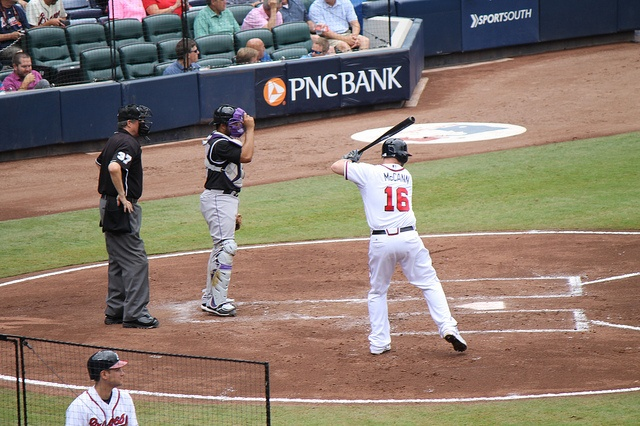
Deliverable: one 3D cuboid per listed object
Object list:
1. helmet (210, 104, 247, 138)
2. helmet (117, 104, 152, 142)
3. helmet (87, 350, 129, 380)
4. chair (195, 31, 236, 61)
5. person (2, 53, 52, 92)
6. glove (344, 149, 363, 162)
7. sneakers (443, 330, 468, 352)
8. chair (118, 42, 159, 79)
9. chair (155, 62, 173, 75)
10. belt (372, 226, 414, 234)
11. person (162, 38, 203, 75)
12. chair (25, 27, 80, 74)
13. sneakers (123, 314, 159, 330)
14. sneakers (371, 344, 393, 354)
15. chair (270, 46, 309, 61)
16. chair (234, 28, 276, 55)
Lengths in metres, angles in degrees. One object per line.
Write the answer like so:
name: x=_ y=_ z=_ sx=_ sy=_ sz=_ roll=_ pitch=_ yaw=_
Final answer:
helmet: x=-1.469 y=-1.494 z=21.297 sx=0.663 sy=0.406 sz=0.415 roll=10 pitch=11 yaw=16
helmet: x=-3.016 y=-1.462 z=21.016 sx=0.638 sy=0.432 sz=0.424 roll=2 pitch=-5 yaw=-10
helmet: x=-3.002 y=2.028 z=18.076 sx=0.706 sy=0.279 sz=0.410 roll=-3 pitch=21 yaw=-23
chair: x=-2.243 y=-3.749 z=29.526 sx=0.998 sy=0.573 sz=0.839 roll=-1 pitch=10 yaw=-12
person: x=-6.251 y=-2.953 z=27.585 sx=0.961 sy=0.598 sz=0.543 roll=-18 pitch=25 yaw=-39
glove: x=0.540 y=-0.900 z=20.294 sx=0.144 sy=0.129 sz=0.373 roll=19 pitch=24 yaw=32
sneakers: x=2.075 y=1.931 z=19.880 sx=0.456 sy=0.187 sz=0.226 roll=39 pitch=12 yaw=-15
chair: x=-4.225 y=-3.362 z=28.915 sx=0.981 sy=0.876 sz=0.981 roll=-9 pitch=12 yaw=-40
chair: x=-3.492 y=-3.177 z=28.757 sx=0.352 sy=0.327 sz=0.271 roll=0 pitch=43 yaw=-11
belt: x=1.120 y=0.259 z=19.889 sx=0.646 sy=0.107 sz=0.145 roll=-3 pitch=12 yaw=3
person: x=-3.158 y=-3.389 z=28.987 sx=1.010 sy=0.816 sz=1.004 roll=-9 pitch=15 yaw=-21
chair: x=-5.909 y=-3.614 z=28.454 sx=1.350 sy=0.971 sz=1.103 roll=-17 pitch=24 yaw=-39
sneakers: x=-2.844 y=1.758 z=20.932 sx=0.586 sy=0.184 sz=0.208 roll=-1 pitch=5 yaw=1
sneakers: x=0.928 y=2.091 z=20.092 sx=0.355 sy=0.106 sz=0.115 roll=-6 pitch=30 yaw=-21
chair: x=-0.669 y=-3.657 z=29.910 sx=0.526 sy=0.464 sz=0.477 roll=-4 pitch=15 yaw=-21
chair: x=-1.470 y=-3.910 z=29.916 sx=1.020 sy=0.549 sz=0.775 roll=-1 pitch=22 yaw=-11
